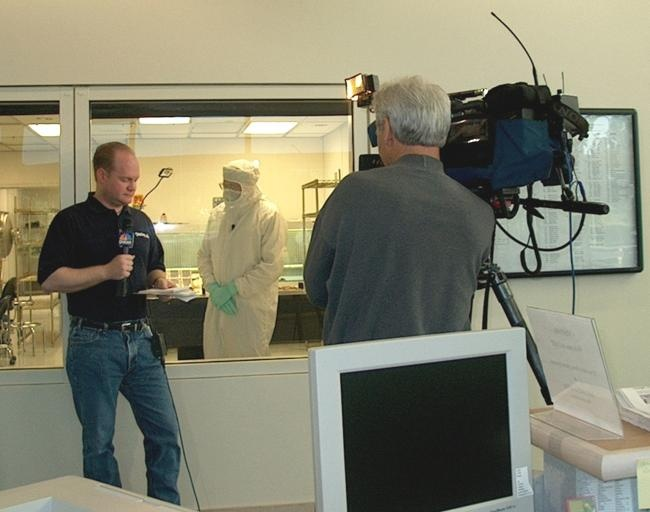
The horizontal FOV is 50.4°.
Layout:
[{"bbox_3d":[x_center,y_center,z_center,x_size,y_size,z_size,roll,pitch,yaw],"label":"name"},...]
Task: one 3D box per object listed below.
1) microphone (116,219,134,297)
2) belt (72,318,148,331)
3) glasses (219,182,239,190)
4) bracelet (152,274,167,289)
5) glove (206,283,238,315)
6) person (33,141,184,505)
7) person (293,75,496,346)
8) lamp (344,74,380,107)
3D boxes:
[{"bbox_3d":[-0.923,-0.001,3.223,0.065,0.370,0.151,0,1,-13],"label":"microphone"},{"bbox_3d":[-0.997,0.314,3.208,0.337,0.070,0.102,-1,1,-21],"label":"belt"},{"bbox_3d":[-0.489,-0.368,3.573,0.059,0.027,0.046,7,0,13],"label":"glasses"},{"bbox_3d":[-0.809,0.113,3.401,0.056,0.030,0.079,15,7,-24],"label":"bracelet"},{"bbox_3d":[-0.524,0.214,3.570,0.145,0.163,0.037,0,1,-18],"label":"glove"},{"bbox_3d":[-0.993,0.318,3.257,0.655,1.732,0.324,-1,1,-26],"label":"person"},{"bbox_3d":[0.283,-0.021,2.661,0.644,1.315,0.627,2,2,-21],"label":"person"},{"bbox_3d":[0.169,-0.736,3.031,0.134,0.127,0.119,-9,3,30],"label":"lamp"}]
